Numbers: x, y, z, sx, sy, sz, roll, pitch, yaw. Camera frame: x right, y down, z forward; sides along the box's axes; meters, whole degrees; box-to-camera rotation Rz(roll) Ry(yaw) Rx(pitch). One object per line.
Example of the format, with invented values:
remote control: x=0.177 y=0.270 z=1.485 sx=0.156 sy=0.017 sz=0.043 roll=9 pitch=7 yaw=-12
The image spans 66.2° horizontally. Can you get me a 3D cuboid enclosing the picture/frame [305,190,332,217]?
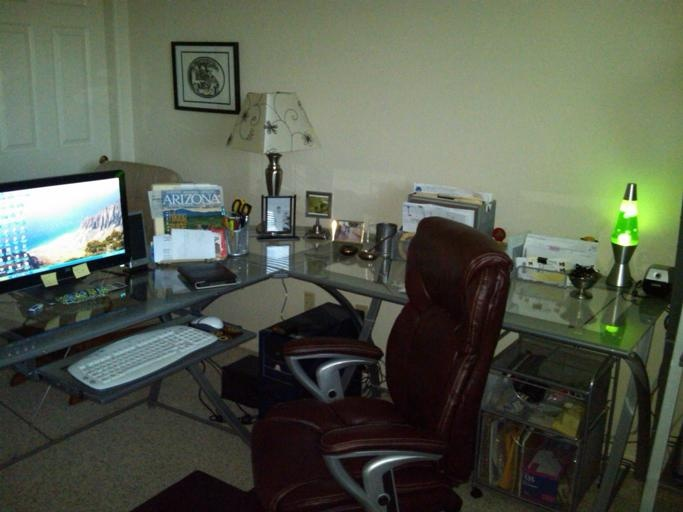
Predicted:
picture/frame: x=-0.140 y=-0.319 z=3.215 sx=0.150 sy=0.154 sz=0.054 roll=3 pitch=11 yaw=7

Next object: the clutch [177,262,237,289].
clutch: x=-0.628 y=0.095 z=2.522 sx=0.174 sy=0.041 sz=0.173 roll=-3 pitch=19 yaw=-34

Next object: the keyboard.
keyboard: x=-0.830 y=0.404 z=2.146 sx=0.233 sy=0.042 sz=0.371 roll=20 pitch=29 yaw=41

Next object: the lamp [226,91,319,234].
lamp: x=-0.411 y=-0.580 z=3.126 sx=0.539 sy=0.648 sz=0.530 roll=9 pitch=3 yaw=7

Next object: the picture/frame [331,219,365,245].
picture/frame: x=0.042 y=-0.134 z=3.164 sx=0.229 sy=0.128 sz=0.165 roll=3 pitch=-16 yaw=7

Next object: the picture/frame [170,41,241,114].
picture/frame: x=-0.944 y=-1.241 z=3.633 sx=0.569 sy=0.474 sz=0.027 roll=11 pitch=21 yaw=23

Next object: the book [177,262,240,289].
book: x=-0.643 y=0.090 z=2.531 sx=0.174 sy=0.042 sz=0.175 roll=-2 pitch=19 yaw=-34

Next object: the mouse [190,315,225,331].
mouse: x=-0.604 y=0.295 z=2.380 sx=0.106 sy=0.038 sz=0.074 roll=12 pitch=11 yaw=26
